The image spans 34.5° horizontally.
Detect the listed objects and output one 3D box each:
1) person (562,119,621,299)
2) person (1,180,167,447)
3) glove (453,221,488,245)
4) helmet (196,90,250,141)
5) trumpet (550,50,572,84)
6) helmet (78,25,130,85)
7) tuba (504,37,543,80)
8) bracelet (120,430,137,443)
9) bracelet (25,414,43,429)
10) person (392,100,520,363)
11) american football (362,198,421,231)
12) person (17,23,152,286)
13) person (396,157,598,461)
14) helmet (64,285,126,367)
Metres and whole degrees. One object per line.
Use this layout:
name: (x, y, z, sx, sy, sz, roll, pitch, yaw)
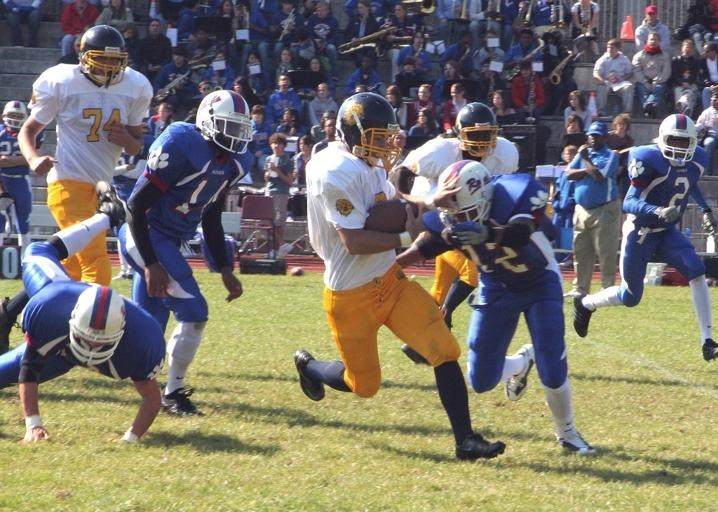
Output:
person: (2.460, -0.476, 12.255, 0.673, 1.821, 0.652, 5, -1, -35)
person: (-1.937, 0.469, 7.995, 1.001, 1.444, 1.061, 0, 11, -23)
glove: (0.739, -0.146, 7.646, 0.222, 0.163, 0.104, 5, 10, 8)
helmet: (-0.950, -1.005, 8.218, 0.396, 0.348, 0.237, 3, 10, -5)
trumpet: (2.861, -2.670, 16.361, 0.154, 0.468, 0.364, 14, 14, 41)
helmet: (-1.921, -1.511, 8.706, 0.345, 0.456, 0.232, 2, 10, -11)
tuba: (2.380, -2.766, 16.143, 0.574, 0.605, 0.373, -2, 12, -30)
bracelet: (-1.542, 1.226, 7.764, 0.099, 0.092, 0.073, 4, 44, -21)
bracelet: (-2.163, 1.109, 7.712, 0.110, 0.094, 0.097, 0, -22, -23)
person: (0.828, -0.258, 9.491, 1.006, 1.979, 1.185, 1, 4, 13)
american football: (0.219, -0.287, 7.796, 0.341, 0.200, 0.250, 12, 24, 33)
person: (-2.003, -0.912, 8.705, 0.820, 2.133, 0.941, -23, 34, -37)
person: (0.969, 0.318, 8.126, 1.063, 2.025, 1.195, -3, 6, -34)
helmet: (-1.711, 0.463, 7.651, 0.429, 0.448, 0.494, 18, 37, -24)
